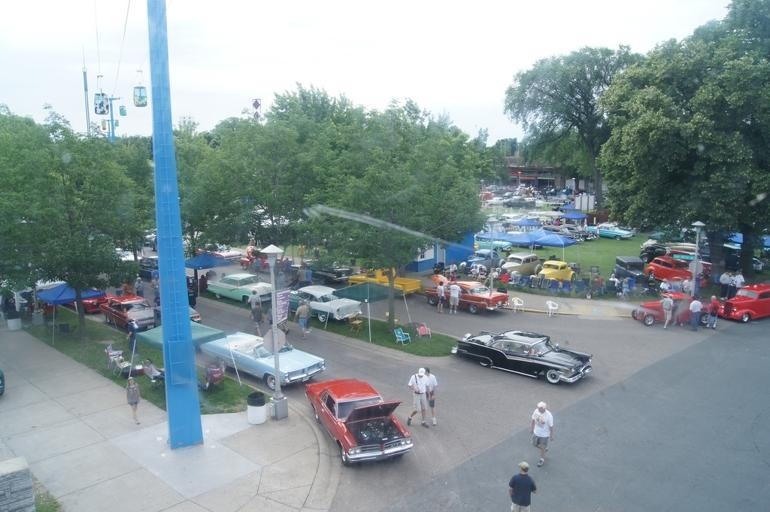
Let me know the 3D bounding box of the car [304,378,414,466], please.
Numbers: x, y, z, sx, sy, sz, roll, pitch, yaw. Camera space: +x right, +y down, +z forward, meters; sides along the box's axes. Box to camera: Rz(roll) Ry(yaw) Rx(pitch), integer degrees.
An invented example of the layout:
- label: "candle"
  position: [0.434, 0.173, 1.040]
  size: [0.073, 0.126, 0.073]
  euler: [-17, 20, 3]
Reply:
- label: "car"
  position: [-1.257, 6.476, 28.048]
  size: [2.145, 1.772, 4.388]
  euler: [-8, 18, -27]

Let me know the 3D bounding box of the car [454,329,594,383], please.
- label: "car"
  position: [6.530, 4.574, 33.514]
  size: [6.280, 1.642, 2.792]
  euler: [8, 8, 37]

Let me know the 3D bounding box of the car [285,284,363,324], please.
- label: "car"
  position: [-3.916, 2.608, 40.659]
  size: [5.267, 1.651, 2.443]
  euler: [9, 12, 40]

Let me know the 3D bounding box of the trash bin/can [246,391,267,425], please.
- label: "trash bin/can"
  position: [-5.405, 6.343, 29.285]
  size: [1.126, 1.240, 1.110]
  euler: [1, 1, -13]

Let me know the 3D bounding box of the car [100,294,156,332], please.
- label: "car"
  position: [-14.216, 3.184, 38.925]
  size: [3.782, 1.270, 1.589]
  euler: [11, 19, 42]

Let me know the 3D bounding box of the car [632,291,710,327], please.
- label: "car"
  position: [15.696, 2.985, 38.511]
  size: [3.423, 1.443, 1.890]
  euler: [-3, 10, -3]

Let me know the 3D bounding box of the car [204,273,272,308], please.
- label: "car"
  position: [-8.899, 1.903, 43.506]
  size: [3.644, 1.235, 2.435]
  euler: [8, 14, 41]

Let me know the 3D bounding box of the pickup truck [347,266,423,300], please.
- label: "pickup truck"
  position: [-0.037, 1.158, 44.942]
  size: [3.334, 1.618, 2.248]
  euler: [10, 15, 37]

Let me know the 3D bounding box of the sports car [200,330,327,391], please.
- label: "sports car"
  position: [-5.698, 4.637, 32.629]
  size: [5.211, 1.598, 2.557]
  euler: [13, 19, 31]

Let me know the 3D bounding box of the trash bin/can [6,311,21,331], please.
- label: "trash bin/can"
  position: [-20.490, 3.553, 38.423]
  size: [0.701, 0.925, 0.694]
  euler: [-6, 8, -29]
